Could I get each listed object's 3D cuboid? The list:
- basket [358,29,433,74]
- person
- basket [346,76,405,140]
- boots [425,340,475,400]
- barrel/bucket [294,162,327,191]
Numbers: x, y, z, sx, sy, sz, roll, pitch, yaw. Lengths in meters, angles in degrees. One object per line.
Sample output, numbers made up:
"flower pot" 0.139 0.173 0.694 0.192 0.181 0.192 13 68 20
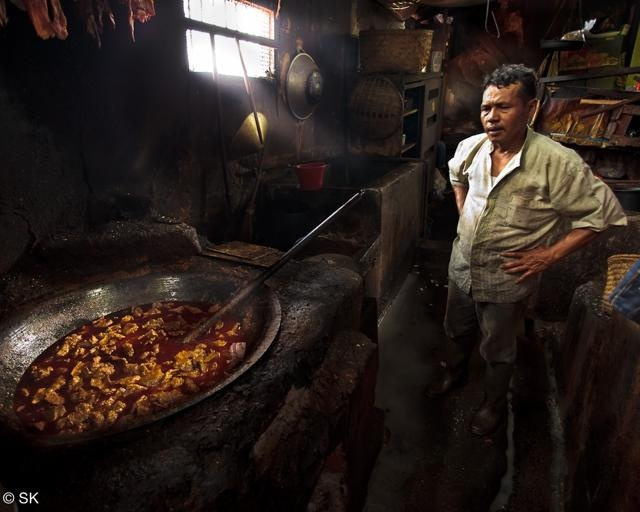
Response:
"basket" 0.977 -2.597 5.833 0.937 0.567 1.233 3 20 20
"person" 1.300 0.044 3.095 0.615 2.436 1.190 -16 28 -35
"basket" 0.707 -1.824 5.564 0.615 0.723 0.353 4 17 16
"boots" 1.082 0.949 3.679 0.402 0.388 0.175 -26 46 -21
"barrel/bucket" -0.069 -0.787 4.435 0.258 0.259 0.369 3 25 8
